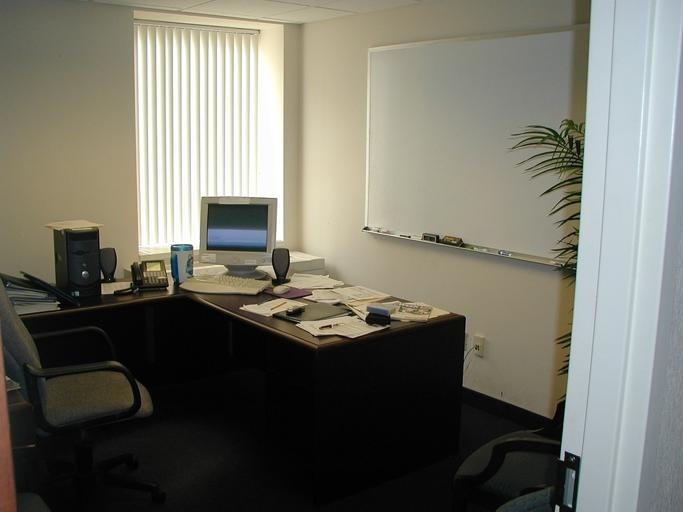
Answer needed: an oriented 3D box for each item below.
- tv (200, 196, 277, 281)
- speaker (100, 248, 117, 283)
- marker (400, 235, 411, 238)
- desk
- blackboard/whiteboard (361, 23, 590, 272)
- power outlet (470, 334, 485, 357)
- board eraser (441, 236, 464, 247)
[{"bbox_3d":[-0.768,-0.150,4.400,0.608,0.623,0.369,2,3,14],"label":"tv"},{"bbox_3d":[-1.721,0.071,4.069,0.147,0.261,0.144,-4,9,-18],"label":"speaker"},{"bbox_3d":[0.547,-0.165,4.710,0.052,0.032,0.101,-12,8,-30],"label":"marker"},{"bbox_3d":[-0.433,0.758,3.777,1.719,0.755,1.740,-7,19,-24],"label":"desk"},{"bbox_3d":[0.888,-0.837,4.232,0.143,1.674,2.130,-7,12,-36],"label":"blackboard/whiteboard"},{"bbox_3d":[1.056,0.686,4.253,0.019,0.178,0.119,-6,14,-36],"label":"power outlet"},{"bbox_3d":[0.866,-0.116,4.317,0.123,0.030,0.074,12,44,42],"label":"board eraser"}]
